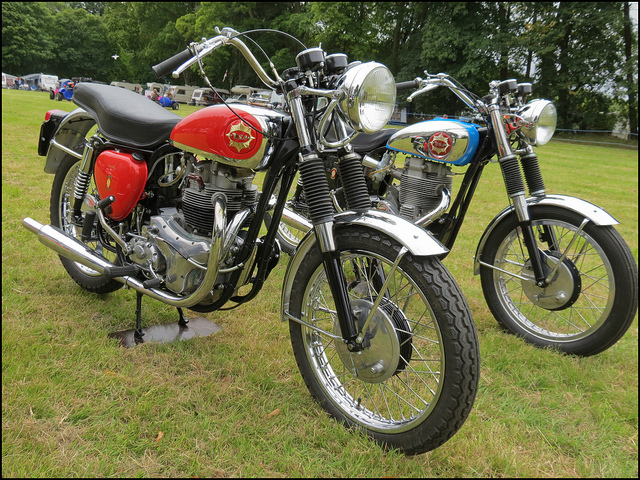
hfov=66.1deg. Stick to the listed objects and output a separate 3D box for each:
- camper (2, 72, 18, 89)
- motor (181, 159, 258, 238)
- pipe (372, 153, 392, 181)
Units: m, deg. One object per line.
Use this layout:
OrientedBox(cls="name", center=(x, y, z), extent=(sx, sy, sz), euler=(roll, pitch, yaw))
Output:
OrientedBox(cls="camper", center=(-25.584, -13.184, 40.515), extent=(0.887, 1.082, 2.653), euler=(-3, 16, -31))
OrientedBox(cls="motor", center=(-0.651, -0.333, 3.224), extent=(0.419, 0.529, 0.344), euler=(-11, 20, -42))
OrientedBox(cls="pipe", center=(0.522, -0.668, 4.492), extent=(0.143, 0.208, 0.212), euler=(25, 56, 0))
